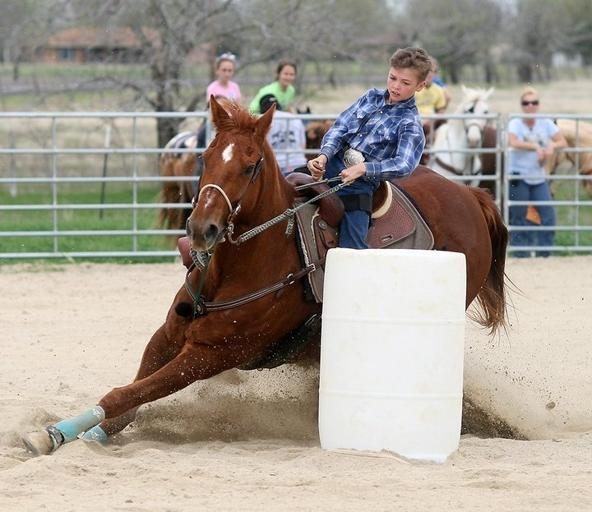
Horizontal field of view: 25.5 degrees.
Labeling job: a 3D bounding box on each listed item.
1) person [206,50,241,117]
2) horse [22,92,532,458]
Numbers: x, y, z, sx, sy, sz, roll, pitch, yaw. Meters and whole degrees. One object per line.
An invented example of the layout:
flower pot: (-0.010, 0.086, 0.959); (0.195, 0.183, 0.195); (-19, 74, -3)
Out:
person: (-0.840, -1.809, 14.747); (0.384, 0.960, 0.310); (-7, 12, -27)
horse: (-0.097, 0.057, 9.814); (3.792, 2.480, 1.110); (-5, 6, -35)
